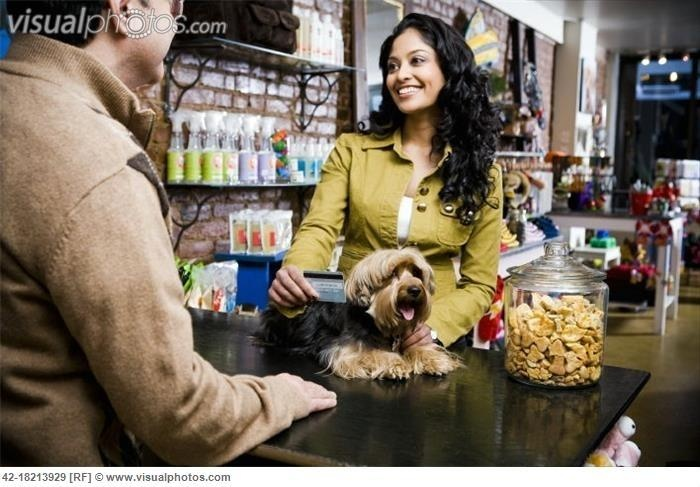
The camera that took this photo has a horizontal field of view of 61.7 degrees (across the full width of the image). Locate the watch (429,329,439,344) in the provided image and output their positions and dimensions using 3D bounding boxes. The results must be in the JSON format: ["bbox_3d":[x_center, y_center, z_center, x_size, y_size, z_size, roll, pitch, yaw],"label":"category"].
[{"bbox_3d":[0.241,0.264,1.666,0.025,0.040,0.037,1,-5,-12],"label":"watch"}]

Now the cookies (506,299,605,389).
[{"bbox_3d":[0.501,0.226,1.481,0.222,0.194,0.207,0,2,-19],"label":"cookies"}]

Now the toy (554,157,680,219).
[{"bbox_3d":[0.955,-0.224,2.294,0.380,0.230,0.752,3,7,1],"label":"toy"}]

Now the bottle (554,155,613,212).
[{"bbox_3d":[0.911,-0.245,2.276,0.097,0.182,0.183,-15,16,-38],"label":"bottle"}]

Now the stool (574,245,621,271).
[{"bbox_3d":[1.784,0.089,4.223,0.173,0.173,0.178,6,16,19],"label":"stool"}]

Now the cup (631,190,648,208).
[{"bbox_3d":[1.035,-0.160,2.100,0.060,0.060,0.061,-1,9,0],"label":"cup"}]

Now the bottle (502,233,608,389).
[{"bbox_3d":[0.611,0.168,1.630,0.318,0.446,0.318,0,2,0],"label":"bottle"}]

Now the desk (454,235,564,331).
[{"bbox_3d":[1.061,0.350,3.966,0.500,0.879,0.940,5,10,34],"label":"desk"}]

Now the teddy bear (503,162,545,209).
[{"bbox_3d":[1.248,-0.405,4.229,0.357,0.294,0.240,2,7,-3],"label":"teddy bear"}]

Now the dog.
[{"bbox_3d":[0.006,0.180,1.578,0.531,0.259,0.257,-1,-4,42],"label":"dog"}]
